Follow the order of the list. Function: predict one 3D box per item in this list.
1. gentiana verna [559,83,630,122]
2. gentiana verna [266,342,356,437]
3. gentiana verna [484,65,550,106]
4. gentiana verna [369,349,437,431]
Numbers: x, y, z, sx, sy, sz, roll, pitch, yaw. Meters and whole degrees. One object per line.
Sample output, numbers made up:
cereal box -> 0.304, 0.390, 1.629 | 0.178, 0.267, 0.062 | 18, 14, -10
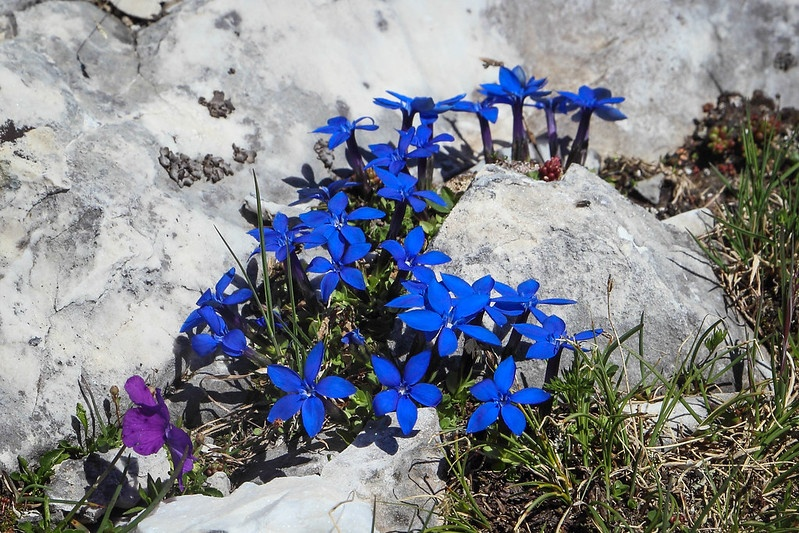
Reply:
gentiana verna -> 1.735, -1.378, 8.532 | 0.473, 0.493, 0.134 | 2, 82, 38
gentiana verna -> -0.647, 0.870, 7.070 | 0.520, 0.550, 0.226 | 16, 89, 22
gentiana verna -> 1.001, -1.560, 8.540 | 0.401, 0.199, 0.400 | -5, 39, -24
gentiana verna -> 0.032, 0.873, 6.987 | 0.484, 0.358, 0.459 | -15, 48, 3
